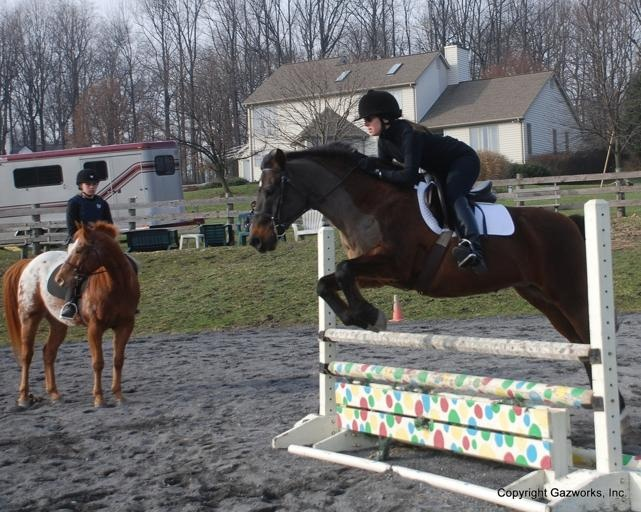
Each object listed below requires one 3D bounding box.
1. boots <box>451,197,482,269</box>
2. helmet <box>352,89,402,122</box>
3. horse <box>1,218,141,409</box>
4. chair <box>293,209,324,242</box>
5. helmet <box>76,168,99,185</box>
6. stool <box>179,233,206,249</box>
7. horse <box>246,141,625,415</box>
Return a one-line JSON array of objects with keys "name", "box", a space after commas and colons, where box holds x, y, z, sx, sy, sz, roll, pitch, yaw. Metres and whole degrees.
[{"name": "boots", "box": [1.110, -0.153, 5.402, 0.292, 0.164, 0.579, 11, 36, 3]}, {"name": "helmet", "box": [0.478, -1.200, 5.665, 0.253, 0.163, 0.312, 10, 14, 40]}, {"name": "horse", "box": [-2.726, 0.592, 7.481, 1.496, 1.860, 0.850, 0, 5, 30]}, {"name": "chair", "box": [-0.411, -0.775, 18.440, 0.879, 1.056, 0.894, 1, 3, 8]}, {"name": "helmet", "box": [-2.608, -0.882, 7.838, 0.168, 0.146, 0.213, -5, 11, -34]}, {"name": "stool", "box": [-3.492, -0.446, 18.997, 0.681, 0.457, 0.622, -1, -4, 1]}, {"name": "horse", "box": [0.978, 0.173, 5.786, 3.199, 1.813, 0.719, 5, -4, -10]}]
